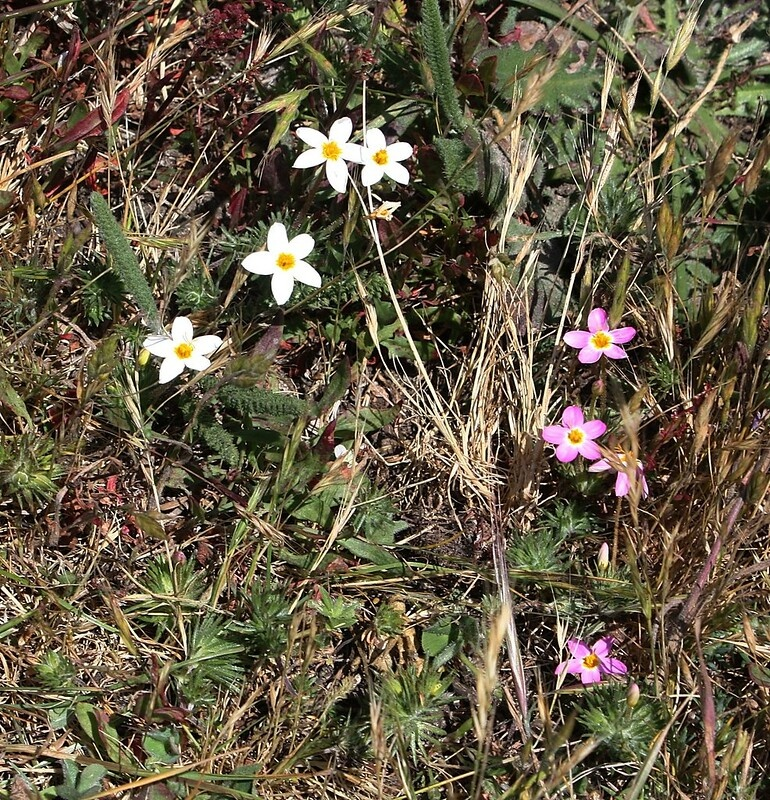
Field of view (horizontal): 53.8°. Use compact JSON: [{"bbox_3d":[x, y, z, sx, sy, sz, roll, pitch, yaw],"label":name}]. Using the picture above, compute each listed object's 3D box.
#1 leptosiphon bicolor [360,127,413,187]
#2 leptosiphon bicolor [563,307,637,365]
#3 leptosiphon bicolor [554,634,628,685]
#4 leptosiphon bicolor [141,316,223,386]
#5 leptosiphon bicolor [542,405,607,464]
[{"bbox_3d":[-0.027,-0.689,2.124,0.186,0.193,0.043,-1,75,-1],"label":"leptosiphon bicolor"},{"bbox_3d":[0.583,-0.171,2.083,0.162,0.056,0.175,26,74,15],"label":"leptosiphon bicolor"},{"bbox_3d":[0.537,0.675,1.926,0.134,0.047,0.139,22,62,31],"label":"leptosiphon bicolor"},{"bbox_3d":[-0.496,-0.116,1.837,0.169,0.115,0.138,-39,65,-17],"label":"leptosiphon bicolor"},{"bbox_3d":[0.485,0.093,1.974,0.157,0.063,0.152,10,62,9],"label":"leptosiphon bicolor"}]
